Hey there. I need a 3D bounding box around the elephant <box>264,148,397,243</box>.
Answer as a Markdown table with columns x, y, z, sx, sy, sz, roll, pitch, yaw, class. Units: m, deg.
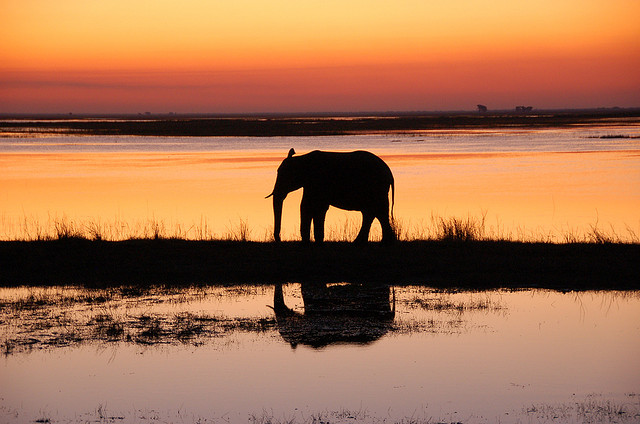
| x | y | z | sx | sy | sz | roll | pitch | yaw | class |
| --- | --- | --- | --- | --- | --- | --- | --- | --- | --- |
| 0.451 | -0.406 | 42.734 | 5.204 | 3.373 | 2.134 | -5 | -11 | 30 | elephant |
